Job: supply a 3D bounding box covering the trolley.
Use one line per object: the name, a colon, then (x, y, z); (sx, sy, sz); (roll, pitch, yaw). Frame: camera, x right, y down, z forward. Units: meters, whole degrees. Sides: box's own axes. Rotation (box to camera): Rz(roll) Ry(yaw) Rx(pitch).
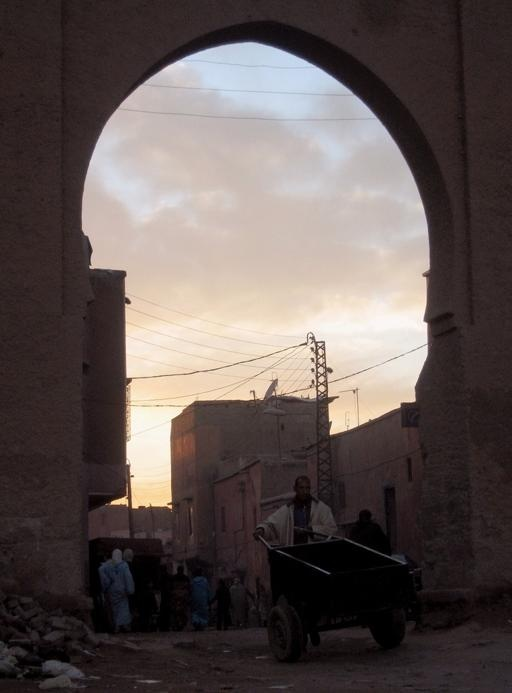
trolley: (0.432, 1.807, 8.936); (1.514, 0.970, 1.099); (-7, -4, 41)
